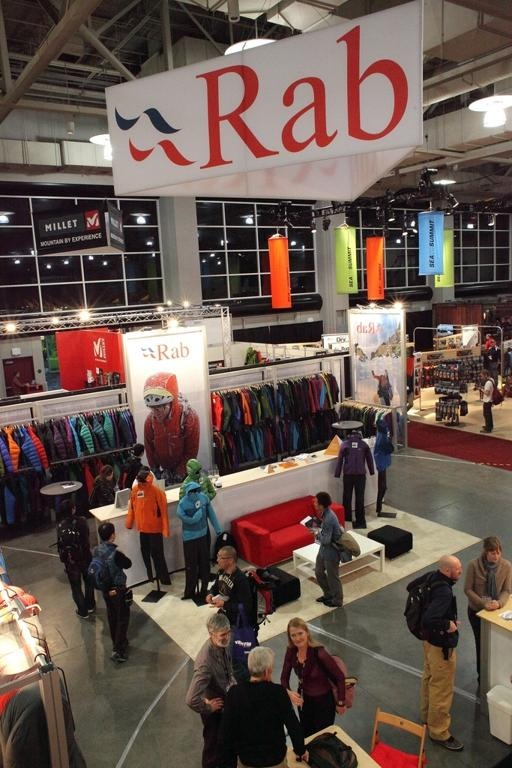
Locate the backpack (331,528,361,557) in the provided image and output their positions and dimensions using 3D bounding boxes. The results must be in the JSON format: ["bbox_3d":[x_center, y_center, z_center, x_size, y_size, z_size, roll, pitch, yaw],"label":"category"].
[{"bbox_3d":[0.834,1.484,4.953,0.233,0.242,0.104,-20,-33,-3],"label":"backpack"}]

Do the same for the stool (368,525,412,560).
[{"bbox_3d":[1.523,1.713,5.998,0.332,0.257,0.327,-19,19,-38],"label":"stool"}]

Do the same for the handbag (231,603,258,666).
[{"bbox_3d":[-0.092,1.671,3.596,0.170,0.406,0.161,-1,-9,0],"label":"handbag"}]

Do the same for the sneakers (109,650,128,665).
[{"bbox_3d":[-1.134,2.276,4.468,0.067,0.069,0.153,3,-2,-39],"label":"sneakers"}]

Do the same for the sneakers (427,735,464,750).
[{"bbox_3d":[1.168,2.188,3.317,0.158,0.066,0.062,-3,-1,31],"label":"sneakers"}]

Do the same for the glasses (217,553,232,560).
[{"bbox_3d":[-0.215,1.144,3.552,0.078,0.066,0.042,-2,-9,9],"label":"glasses"}]

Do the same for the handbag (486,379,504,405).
[{"bbox_3d":[5.314,0.195,11.956,0.338,0.644,0.428,-12,16,8],"label":"handbag"}]

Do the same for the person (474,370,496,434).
[{"bbox_3d":[4.702,0.409,10.960,0.291,1.206,1.767,-4,-10,22],"label":"person"}]

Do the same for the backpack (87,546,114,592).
[{"bbox_3d":[-1.242,1.476,4.289,0.230,0.379,0.115,-6,-10,31],"label":"backpack"}]

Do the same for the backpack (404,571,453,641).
[{"bbox_3d":[1.045,1.361,3.280,0.313,0.415,0.265,-7,-11,33],"label":"backpack"}]
